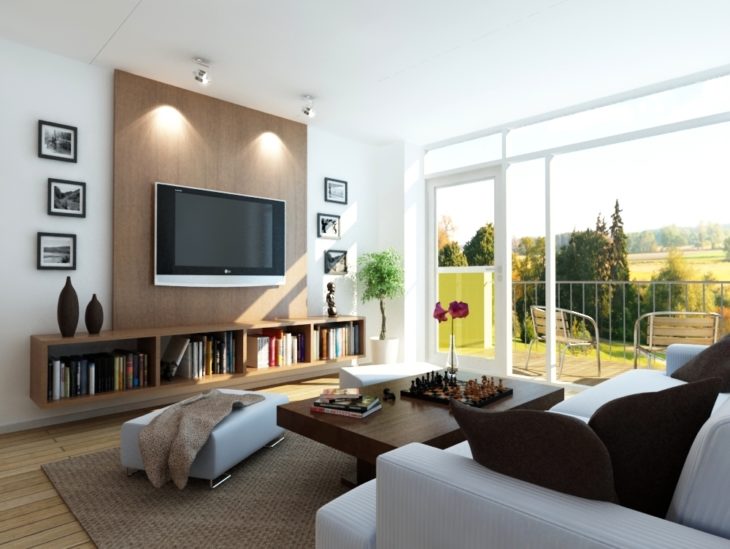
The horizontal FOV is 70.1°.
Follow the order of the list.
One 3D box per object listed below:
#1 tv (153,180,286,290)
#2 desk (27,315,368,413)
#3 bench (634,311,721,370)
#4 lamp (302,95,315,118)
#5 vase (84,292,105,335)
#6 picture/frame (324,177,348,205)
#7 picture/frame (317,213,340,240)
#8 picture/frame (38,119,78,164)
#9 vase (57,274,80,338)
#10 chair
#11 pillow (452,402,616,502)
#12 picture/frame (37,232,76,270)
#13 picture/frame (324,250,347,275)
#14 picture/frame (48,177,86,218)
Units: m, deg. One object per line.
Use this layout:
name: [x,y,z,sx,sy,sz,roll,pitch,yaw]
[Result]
tv: [-1.314,-0.322,4.947,1.275,0.915,0.129,4,9,6]
desk: [-1.250,0.791,4.866,0.480,0.630,3.200,0,-1,44]
bench: [2.760,0.698,4.549,0.613,0.692,0.484,-5,1,44]
lamp: [-0.547,-1.634,5.074,0.153,0.161,0.146,1,5,-5]
vase: [-2.124,0.322,4.102,0.117,0.316,0.183,-1,7,-5]
picture/frame: [-0.350,-0.953,5.989,0.341,0.286,0.026,2,-3,-44]
picture/frame: [-0.428,-0.541,5.903,0.033,0.265,0.315,-3,-2,44]
picture/frame: [-2.450,-1.056,4.154,0.262,0.305,0.016,3,35,-28]
vase: [-2.264,0.258,3.976,0.131,0.450,0.193,-4,8,-27]
chair: [2.122,0.699,5.608,0.531,0.694,0.564,-1,2,-24]
pillow: [0.611,0.582,1.824,0.383,0.325,0.174,-6,-12,17]
picture/frame: [-2.461,-0.181,4.135,0.026,0.342,0.292,2,-1,44]
picture/frame: [-0.355,-0.134,5.972,0.280,0.233,0.029,3,-4,-44]
picture/frame: [-2.406,-0.607,4.176,0.329,0.382,0.028,2,1,-42]
